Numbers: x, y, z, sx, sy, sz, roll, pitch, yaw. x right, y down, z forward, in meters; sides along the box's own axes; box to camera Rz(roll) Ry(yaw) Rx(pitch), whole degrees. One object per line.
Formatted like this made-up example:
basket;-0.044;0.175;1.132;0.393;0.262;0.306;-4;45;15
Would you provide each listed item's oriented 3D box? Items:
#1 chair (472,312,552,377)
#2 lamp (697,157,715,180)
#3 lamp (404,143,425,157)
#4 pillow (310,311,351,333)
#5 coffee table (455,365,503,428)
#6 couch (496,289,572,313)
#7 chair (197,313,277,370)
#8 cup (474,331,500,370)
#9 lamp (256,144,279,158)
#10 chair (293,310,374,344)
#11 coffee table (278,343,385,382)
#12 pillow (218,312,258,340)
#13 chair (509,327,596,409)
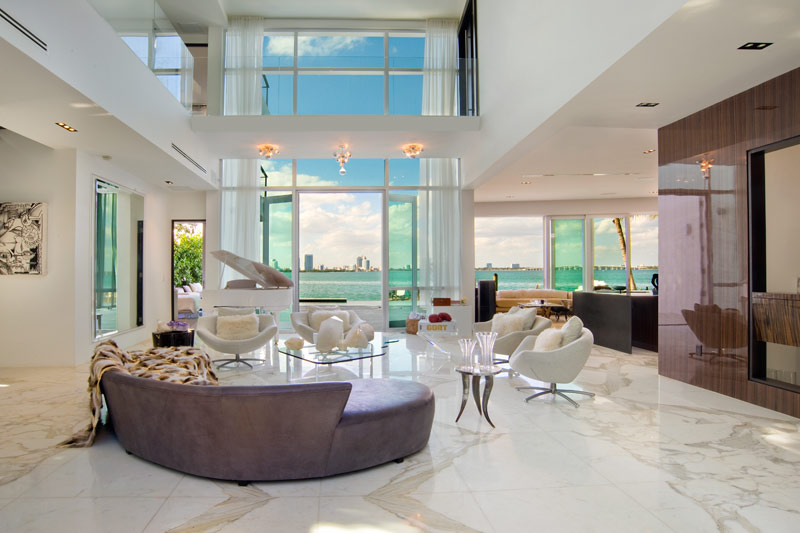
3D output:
chair;1.652;1.051;7.820;0.784;0.777;0.955;12;-3;-23
lamp;3.980;-1.290;6.927;0.216;0.369;0.216;1;0;9
lamp;0.276;-2.334;10.567;0.407;0.234;0.491;1;9;2
pillow;-1.130;0.820;8.468;0.410;0.127;0.420;-2;15;1
coffee table;0.854;1.414;5.778;0.497;0.540;0.485;7;-4;-1
couch;3.293;0.919;13.195;1.756;0.506;1.941;2;10;11
chair;-2.446;1.090;7.886;1.148;0.785;0.950;1;2;-11
cup;0.911;0.889;5.665;0.210;0.424;0.268;2;10;9
lamp;-2.619;-2.322;10.515;0.254;0.059;0.254;-16;-24;37
chair;-1.147;0.857;8.373;0.803;0.305;0.633;3;0;-32
coffee table;-0.822;1.239;6.986;0.766;0.244;0.767;1;-2;-33
pillow;-2.414;0.851;7.854;0.444;0.131;0.389;2;31;-12
chair;1.908;1.168;6.561;0.917;0.762;0.923;-5;-17;17
